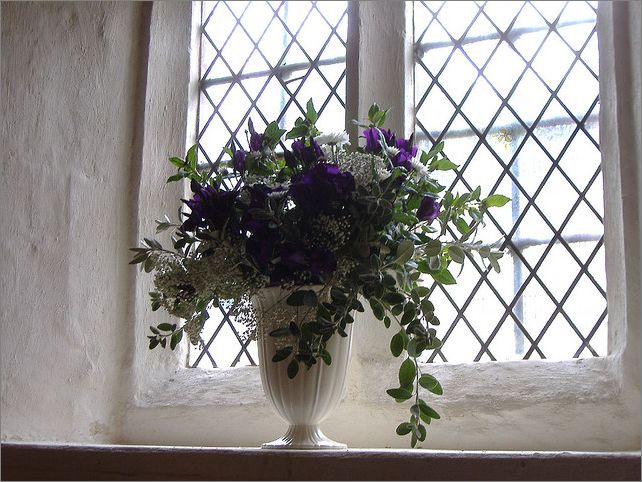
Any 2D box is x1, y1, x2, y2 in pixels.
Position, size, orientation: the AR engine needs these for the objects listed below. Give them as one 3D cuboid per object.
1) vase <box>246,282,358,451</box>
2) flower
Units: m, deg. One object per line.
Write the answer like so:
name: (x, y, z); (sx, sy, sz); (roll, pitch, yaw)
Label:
vase: (-0.056, 0.371, 2.234); (0.306, 0.436, 0.327); (2, -10, -17)
flower: (0.012, 0.175, 2.385); (0.944, 0.958, 0.765); (-6, -14, 42)
